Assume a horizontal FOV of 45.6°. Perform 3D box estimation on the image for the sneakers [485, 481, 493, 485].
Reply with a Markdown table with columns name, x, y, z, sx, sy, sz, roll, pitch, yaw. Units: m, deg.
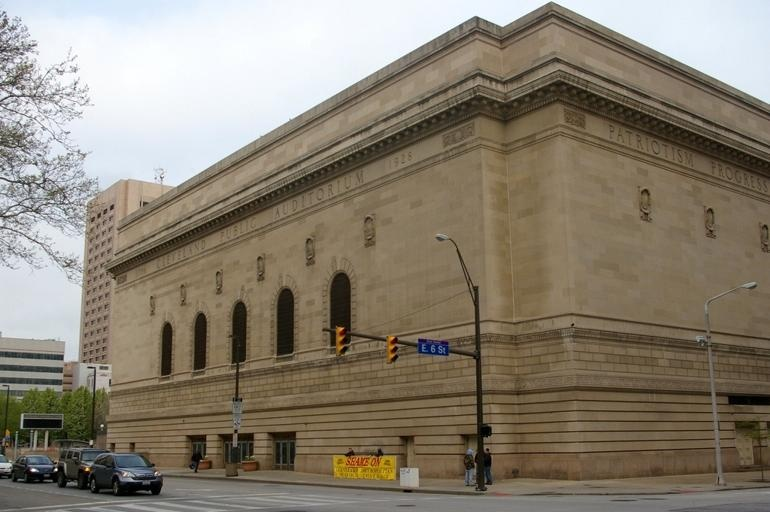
| name | x | y | z | sx | sy | sz | roll | pitch | yaw |
| --- | --- | --- | --- | --- | --- | --- | --- | --- | --- |
| sneakers | 6.488 | 14.179 | 56.776 | 0.220 | 0.283 | 0.664 | 3 | -15 | -20 |

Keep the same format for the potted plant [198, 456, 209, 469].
| name | x | y | z | sx | sy | sz | roll | pitch | yaw |
| --- | --- | --- | --- | --- | --- | --- | --- | --- | --- |
| potted plant | -15.542 | 17.941 | 78.764 | 1.038 | 0.631 | 1.036 | 4 | -22 | -18 |

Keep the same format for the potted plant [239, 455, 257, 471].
| name | x | y | z | sx | sy | sz | roll | pitch | yaw |
| --- | --- | --- | --- | --- | --- | --- | --- | --- | --- |
| potted plant | -10.938 | 16.867 | 73.475 | 1.069 | 0.626 | 1.091 | -11 | -19 | 24 |
